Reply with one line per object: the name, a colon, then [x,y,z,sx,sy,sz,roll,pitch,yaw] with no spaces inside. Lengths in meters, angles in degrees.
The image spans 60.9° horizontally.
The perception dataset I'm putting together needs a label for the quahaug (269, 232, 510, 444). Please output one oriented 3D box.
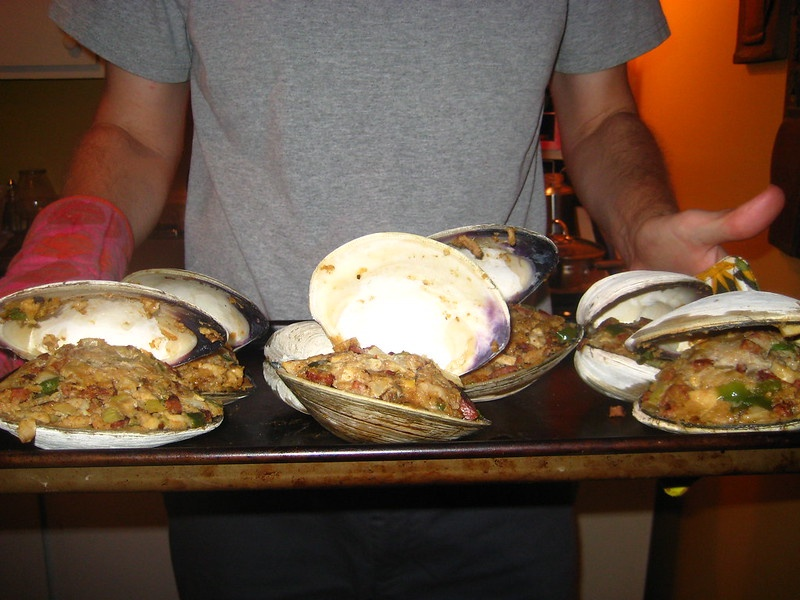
quahaug: [-0.065,0.069,1.378,0.511,0.141,0.413,-20,58,-23]
